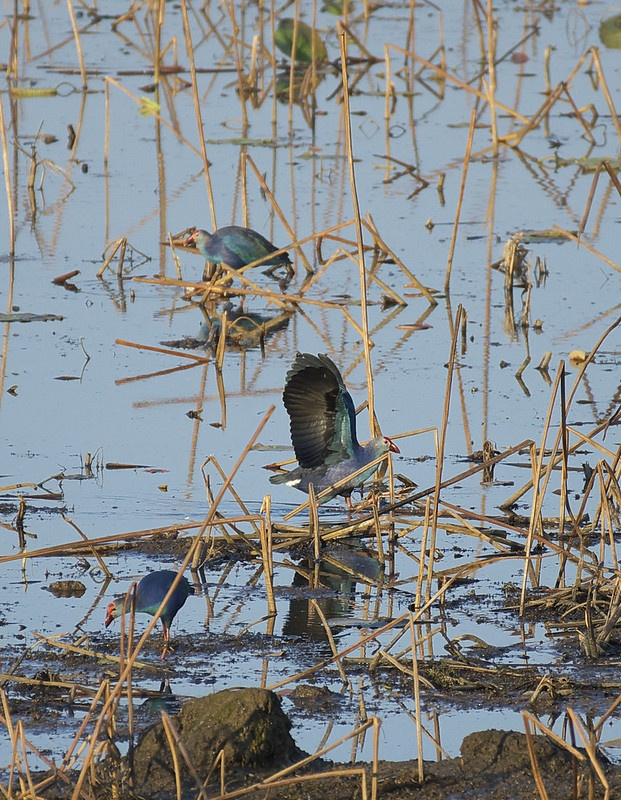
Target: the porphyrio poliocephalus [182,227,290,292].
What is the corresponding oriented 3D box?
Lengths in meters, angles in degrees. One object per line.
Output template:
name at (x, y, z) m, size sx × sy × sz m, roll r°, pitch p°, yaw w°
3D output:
porphyrio poliocephalus at (-0.579, -1.102, 10.216) m, size 0.832 × 0.446 × 0.363 m, roll -2°, pitch 17°, yaw 12°
